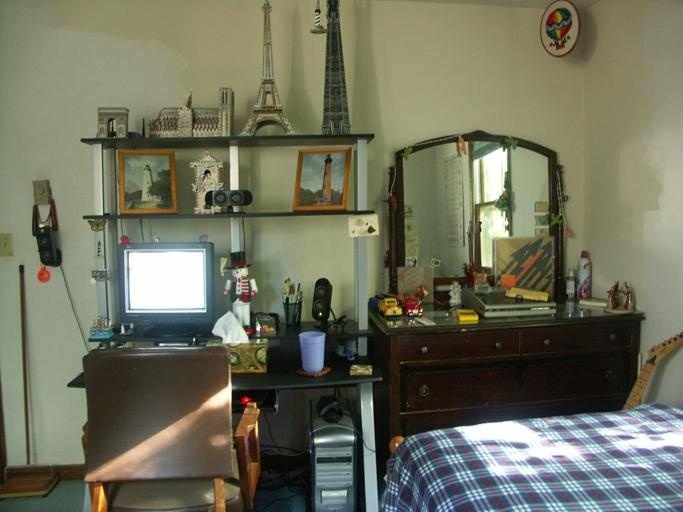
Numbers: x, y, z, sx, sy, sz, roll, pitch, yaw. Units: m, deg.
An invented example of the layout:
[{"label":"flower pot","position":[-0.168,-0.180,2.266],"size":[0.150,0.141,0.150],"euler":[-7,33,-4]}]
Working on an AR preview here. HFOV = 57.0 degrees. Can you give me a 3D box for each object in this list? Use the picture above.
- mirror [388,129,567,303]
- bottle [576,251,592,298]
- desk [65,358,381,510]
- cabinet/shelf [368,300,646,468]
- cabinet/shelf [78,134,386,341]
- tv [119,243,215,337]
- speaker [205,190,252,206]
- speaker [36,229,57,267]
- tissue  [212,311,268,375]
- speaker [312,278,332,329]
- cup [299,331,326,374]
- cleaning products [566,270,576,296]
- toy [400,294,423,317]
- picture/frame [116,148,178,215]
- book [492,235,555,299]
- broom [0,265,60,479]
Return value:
[{"label":"mirror","position":[0.912,-0.236,4.148],"size":[1.165,1.236,0.035],"euler":[1,-11,-2]},{"label":"bottle","position":[1.633,0.122,4.205],"size":[0.146,0.310,0.092],"euler":[-6,7,-36]},{"label":"desk","position":[-0.618,0.918,3.240],"size":[0.926,0.650,0.494],"euler":[-1,-5,1]},{"label":"cabinet/shelf","position":[0.917,0.717,3.508],"size":[0.894,0.901,0.365],"euler":[-1,7,-4]},{"label":"cabinet/shelf","position":[-0.754,-0.123,3.842],"size":[1.196,1.124,0.328],"euler":[-1,-2,-5]},{"label":"tv","position":[-1.052,0.201,3.732],"size":[0.578,0.564,0.367],"euler":[-3,6,-12]},{"label":"speaker","position":[-0.677,-0.344,3.715],"size":[0.271,0.090,0.075],"euler":[-2,6,-6]},{"label":"speaker","position":[-1.833,-0.062,3.900],"size":[0.125,0.251,0.058],"euler":[-5,6,-28]},{"label":"tissue ","position":[-0.598,0.500,3.679],"size":[0.329,0.339,0.207],"euler":[-1,0,-2]},{"label":"speaker","position":[-0.125,0.279,3.828],"size":[0.110,0.290,0.173],"euler":[-2,6,-4]},{"label":"cup","position":[-0.175,0.550,3.614],"size":[0.155,0.203,0.159],"euler":[-1,0,0]},{"label":"cleaning products","position":[1.549,0.188,4.230],"size":[0.065,0.186,0.084],"euler":[1,6,23]},{"label":"toy","position":[0.432,0.304,3.918],"size":[0.087,0.071,0.149],"euler":[0,14,0]},{"label":"picture/frame","position":[-1.183,-0.444,3.795],"size":[0.376,0.457,0.032],"euler":[1,-6,-17]},{"label":"book","position":[1.188,0.064,4.163],"size":[0.382,0.408,0.133],"euler":[0,2,-3]},{"label":"broom","position":[-1.980,0.740,3.894],"size":[0.331,1.362,0.270],"euler":[-2,6,-3]}]
